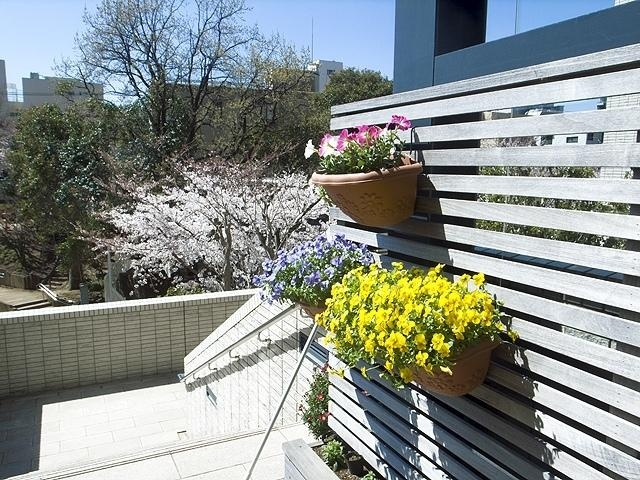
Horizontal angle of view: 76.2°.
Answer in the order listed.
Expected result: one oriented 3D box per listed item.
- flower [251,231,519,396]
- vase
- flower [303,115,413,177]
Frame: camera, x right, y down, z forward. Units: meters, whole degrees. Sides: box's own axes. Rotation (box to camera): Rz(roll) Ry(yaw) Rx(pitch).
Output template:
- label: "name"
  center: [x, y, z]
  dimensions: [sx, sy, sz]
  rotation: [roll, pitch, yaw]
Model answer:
- label: "flower"
  center: [0.280, 0.469, 1.939]
  dimensions: [0.529, 0.801, 1.137]
  rotation: [-11, 16, -31]
- label: "vase"
  center: [0.252, -0.222, 2.004]
  dimensions: [0.414, 0.282, 0.537]
  rotation: [-16, 14, -26]
- label: "flower"
  center: [0.177, -0.399, 1.895]
  dimensions: [0.448, 0.193, 0.433]
  rotation: [-12, 2, 37]
